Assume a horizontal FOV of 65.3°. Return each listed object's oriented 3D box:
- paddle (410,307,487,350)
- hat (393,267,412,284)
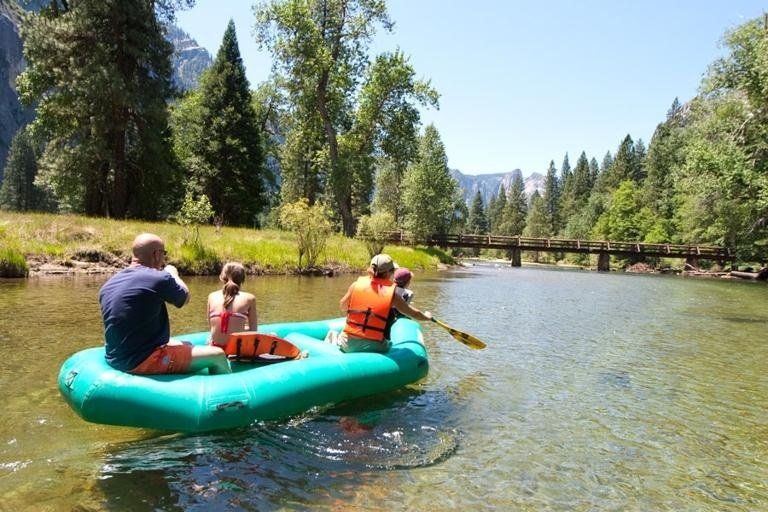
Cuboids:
[{"bbox_3d":[1.624,1.519,13.019,2.289,0.131,0.540,29,-17,-17],"label":"paddle"},{"bbox_3d":[0.382,0.381,12.221,0.248,0.197,0.369,8,43,13],"label":"hat"}]
